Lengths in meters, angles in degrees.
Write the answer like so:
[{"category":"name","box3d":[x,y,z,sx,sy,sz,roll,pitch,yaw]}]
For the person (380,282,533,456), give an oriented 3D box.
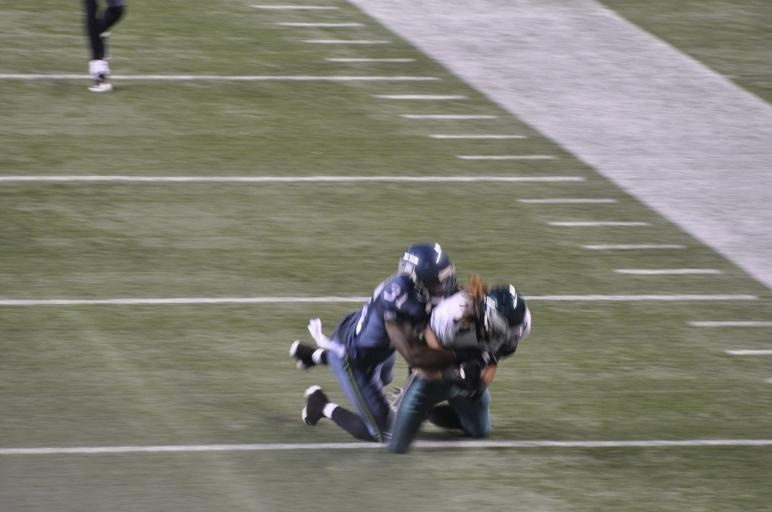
[{"category":"person","box3d":[0.617,0.861,12.547,0.807,1.521,0.833,15,40,-1]}]
